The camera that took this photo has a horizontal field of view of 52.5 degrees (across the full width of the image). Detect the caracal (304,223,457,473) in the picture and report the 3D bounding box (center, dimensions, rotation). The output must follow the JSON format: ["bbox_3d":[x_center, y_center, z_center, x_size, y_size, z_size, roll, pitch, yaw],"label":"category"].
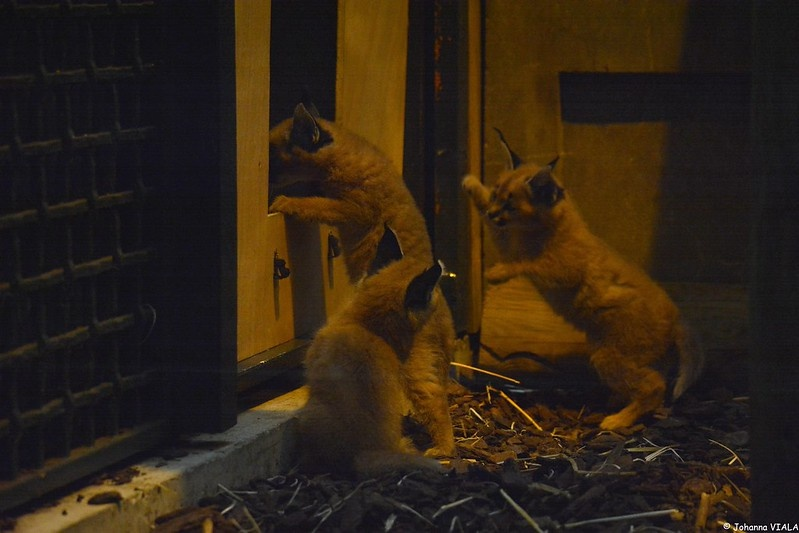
[{"bbox_3d":[-0.072,0.679,5.588,1.084,1.384,0.769,-12,18,-40],"label":"caracal"}]
